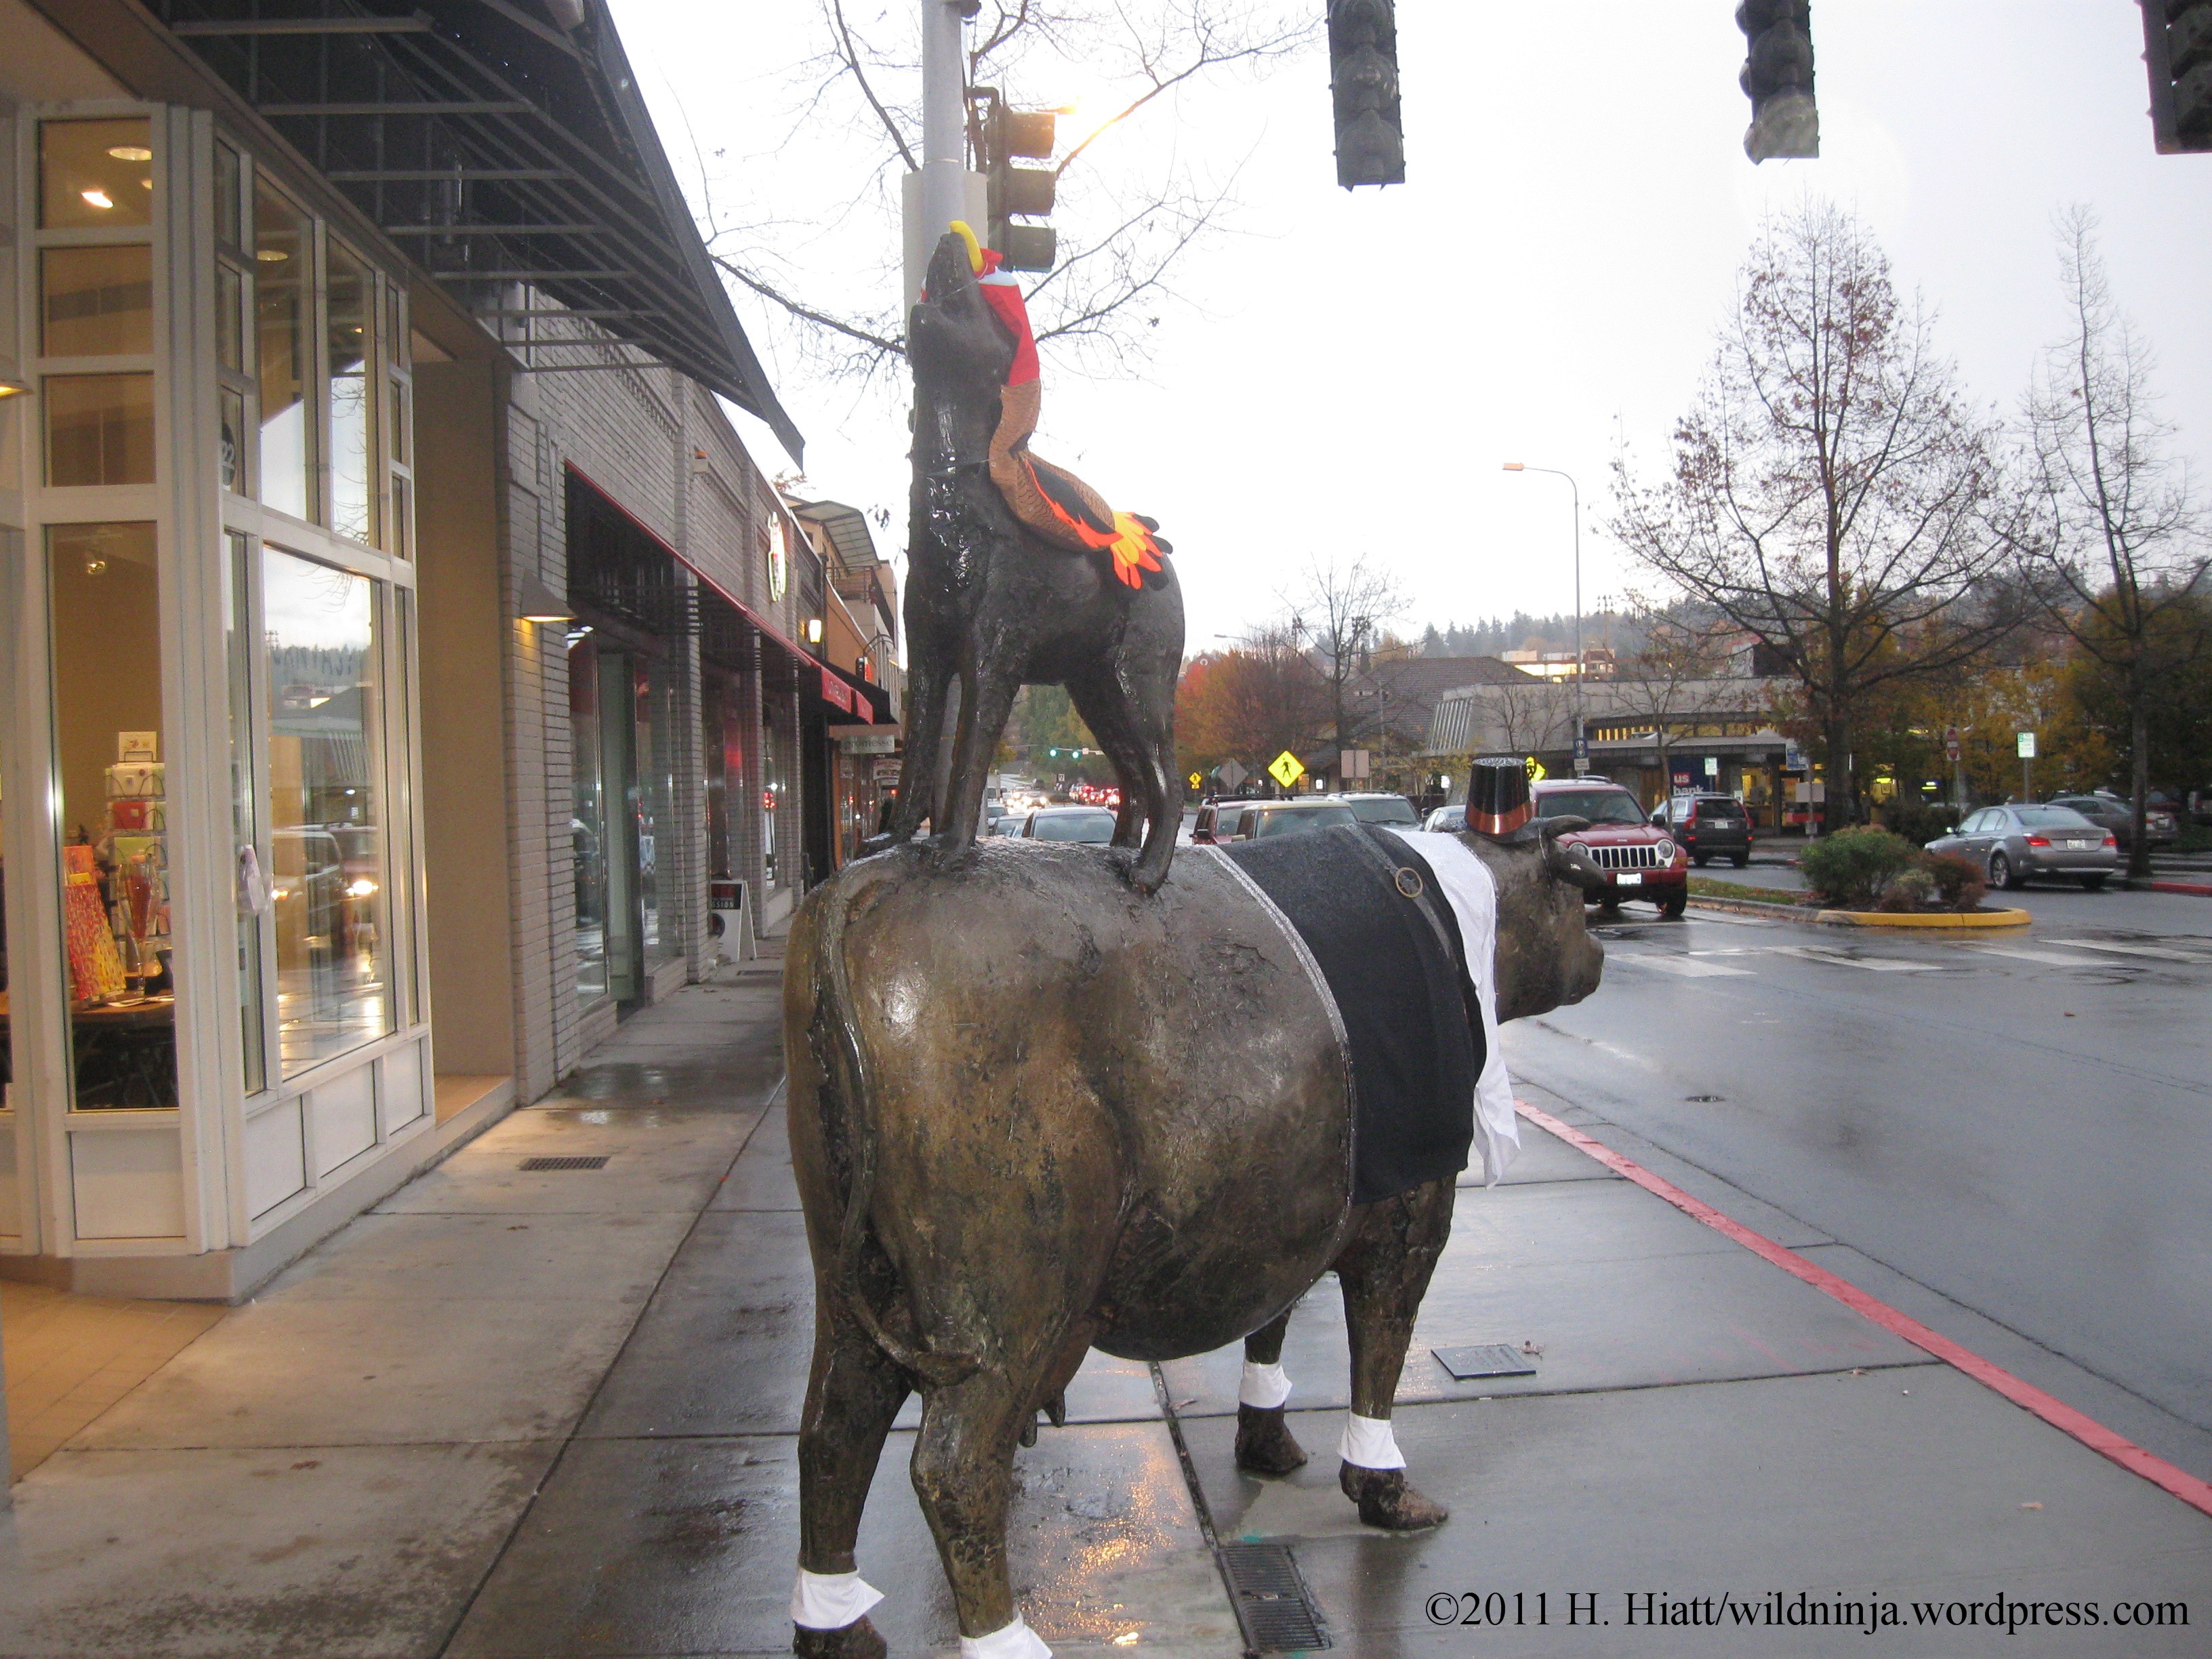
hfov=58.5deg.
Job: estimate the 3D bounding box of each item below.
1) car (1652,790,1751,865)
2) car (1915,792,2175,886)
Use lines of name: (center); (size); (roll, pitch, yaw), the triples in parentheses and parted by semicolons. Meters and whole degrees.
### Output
car: (12.067, -0.029, 39.917); (1.252, 1.304, 2.341); (-1, 9, -4)
car: (14.173, 0.305, 30.204); (1.891, 1.266, 2.288); (1, 9, 12)
